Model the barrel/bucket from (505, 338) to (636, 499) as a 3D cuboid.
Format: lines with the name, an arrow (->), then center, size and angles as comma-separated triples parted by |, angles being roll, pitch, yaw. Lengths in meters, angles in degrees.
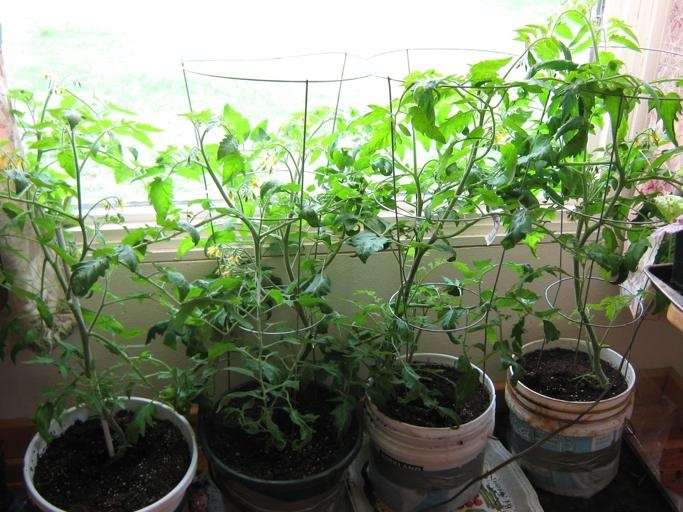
barrel/bucket -> 0.856, 0.606, 1.867 | 0.473, 0.426, 0.448 | -7, 20, 2
